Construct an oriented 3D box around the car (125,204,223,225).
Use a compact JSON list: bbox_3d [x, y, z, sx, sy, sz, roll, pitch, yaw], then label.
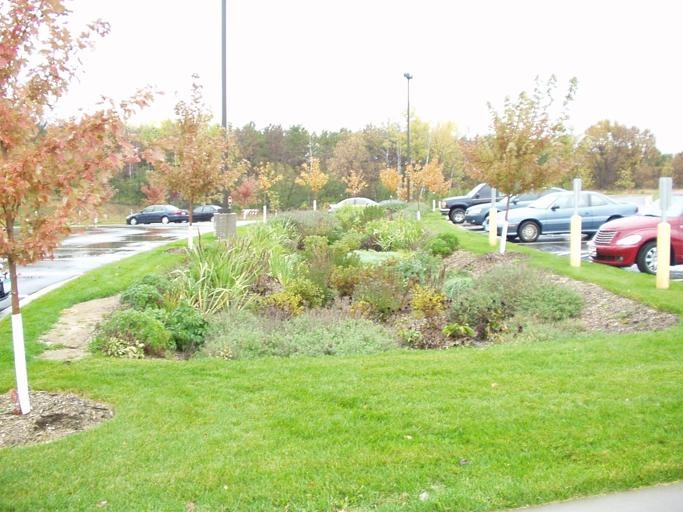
[{"bbox_3d":[-10.800,-2.626,41.729,5.197,1.139,2.729,-2,13,-6],"label":"car"}]
